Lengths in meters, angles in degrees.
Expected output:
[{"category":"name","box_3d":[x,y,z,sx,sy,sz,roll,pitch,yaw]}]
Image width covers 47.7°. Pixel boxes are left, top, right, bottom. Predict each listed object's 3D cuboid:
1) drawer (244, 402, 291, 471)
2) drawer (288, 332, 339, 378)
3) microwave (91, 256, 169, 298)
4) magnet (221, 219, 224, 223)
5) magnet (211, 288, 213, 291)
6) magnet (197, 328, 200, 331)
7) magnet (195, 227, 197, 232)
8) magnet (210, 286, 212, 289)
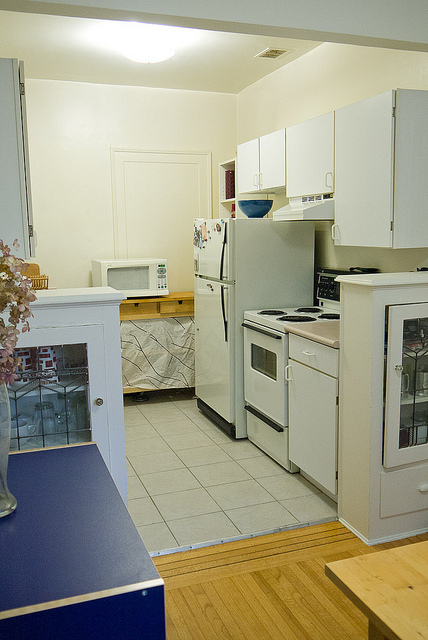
[{"category":"drawer","box_3d":[0.385,0.763,3.143,0.278,0.270,0.410,0,9,-21]},{"category":"drawer","box_3d":[0.530,0.172,2.482,0.171,0.109,0.213,0,10,-25]},{"category":"microwave","box_3d":[-0.782,-0.398,4.408,0.669,0.379,0.479,-4,9,-26]},{"category":"magnet","box_3d":[0.056,-0.691,3.391,0.007,0.024,0.043,-2,6,-9]},{"category":"magnet","box_3d":[-0.016,-0.230,3.664,0.022,0.022,0.015,1,1,-20]},{"category":"magnet","box_3d":[-0.132,0.075,4.027,0.004,0.018,0.019,4,0,-31]},{"category":"magnet","box_3d":[-0.150,-0.744,3.985,0.026,0.048,0.026,-1,2,-24]},{"category":"magnet","box_3d":[-0.025,-0.252,3.689,0.020,0.038,0.019,-1,6,-10]}]
